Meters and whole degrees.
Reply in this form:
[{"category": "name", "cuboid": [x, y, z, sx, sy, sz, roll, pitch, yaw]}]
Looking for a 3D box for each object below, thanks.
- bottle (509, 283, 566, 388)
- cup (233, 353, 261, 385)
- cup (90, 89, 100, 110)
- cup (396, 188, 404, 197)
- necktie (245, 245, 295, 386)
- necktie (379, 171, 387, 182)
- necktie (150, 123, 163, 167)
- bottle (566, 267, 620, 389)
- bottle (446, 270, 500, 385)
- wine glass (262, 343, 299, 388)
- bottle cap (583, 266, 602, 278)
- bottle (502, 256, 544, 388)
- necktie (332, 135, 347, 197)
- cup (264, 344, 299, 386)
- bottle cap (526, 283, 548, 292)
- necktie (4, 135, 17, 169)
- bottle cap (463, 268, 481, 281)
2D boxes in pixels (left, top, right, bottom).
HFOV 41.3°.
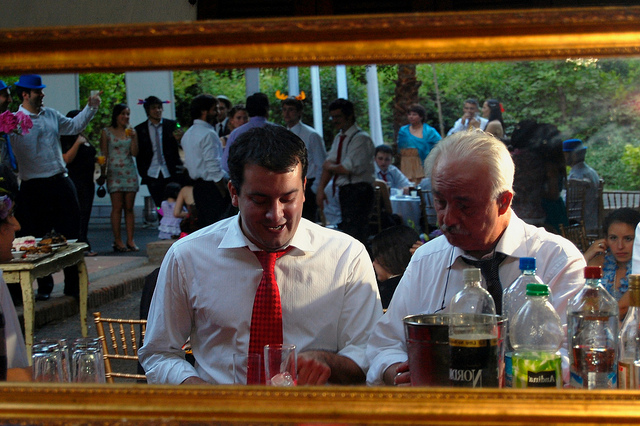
[{"category": "bottle", "cuboid": [0.669, 0.369, 2.630, 0.163, 0.316, 0.250, -2, 0, 15]}, {"category": "cup", "cuboid": [-0.237, 0.508, 2.766, 0.098, 0.111, 0.098, 1, -6, 0]}, {"category": "cup", "cuboid": [-0.720, -0.365, 2.721, 0.034, 0.064, 0.021, -2, 0, 6]}, {"category": "cup", "cuboid": [0.257, -0.066, 2.749, 0.024, 0.027, 0.024, 0, 25, 0]}, {"category": "necktie", "cuboid": [-0.174, 0.302, 3.001, 0.170, 0.460, 0.124, -2, 0, -4]}, {"category": "necktie", "cuboid": [0.207, -0.120, 2.749, 0.029, 0.031, 0.019, -2, 0, 33]}, {"category": "necktie", "cuboid": [-0.535, -0.224, 2.780, 0.034, 0.140, 0.046, -2, 0, -9]}, {"category": "bottle", "cuboid": [0.836, 0.369, 2.604, 0.150, 0.349, 0.128, -2, 0, 18]}, {"category": "bottle", "cuboid": [0.463, 0.345, 2.592, 0.154, 0.331, 0.335, -2, 0, 12]}, {"category": "wine glass", "cuboid": [-0.126, 0.511, 2.733, 0.099, 0.158, 0.095, 0, -20, -12]}, {"category": "bottle cap", "cuboid": [0.811, 0.177, 2.525, 0.060, 0.034, 0.047, -2, 0, -2]}, {"category": "bottle", "cuboid": [0.656, 0.345, 2.709, 0.206, 0.403, 0.209, -1, -2, 0]}, {"category": "necktie", "cuboid": [0.058, -0.149, 2.762, 0.026, 0.238, 0.027, 2, 40, -18]}, {"category": "cup", "cuboid": [-0.107, 0.492, 2.735, 0.121, 0.195, 0.119, 0, -7, 0]}, {"category": "bottle cap", "cuboid": [0.643, 0.223, 2.520, 0.058, 0.024, 0.022, -2, 0, 13]}, {"category": "necktie", "cuboid": [-1.024, -0.203, 2.811, 0.029, 0.115, 0.048, -2, 0, 1]}, {"category": "bottle cap", "cuboid": [0.473, 0.197, 2.698, 0.041, 0.031, 0.041, 0, -7, -7]}]
